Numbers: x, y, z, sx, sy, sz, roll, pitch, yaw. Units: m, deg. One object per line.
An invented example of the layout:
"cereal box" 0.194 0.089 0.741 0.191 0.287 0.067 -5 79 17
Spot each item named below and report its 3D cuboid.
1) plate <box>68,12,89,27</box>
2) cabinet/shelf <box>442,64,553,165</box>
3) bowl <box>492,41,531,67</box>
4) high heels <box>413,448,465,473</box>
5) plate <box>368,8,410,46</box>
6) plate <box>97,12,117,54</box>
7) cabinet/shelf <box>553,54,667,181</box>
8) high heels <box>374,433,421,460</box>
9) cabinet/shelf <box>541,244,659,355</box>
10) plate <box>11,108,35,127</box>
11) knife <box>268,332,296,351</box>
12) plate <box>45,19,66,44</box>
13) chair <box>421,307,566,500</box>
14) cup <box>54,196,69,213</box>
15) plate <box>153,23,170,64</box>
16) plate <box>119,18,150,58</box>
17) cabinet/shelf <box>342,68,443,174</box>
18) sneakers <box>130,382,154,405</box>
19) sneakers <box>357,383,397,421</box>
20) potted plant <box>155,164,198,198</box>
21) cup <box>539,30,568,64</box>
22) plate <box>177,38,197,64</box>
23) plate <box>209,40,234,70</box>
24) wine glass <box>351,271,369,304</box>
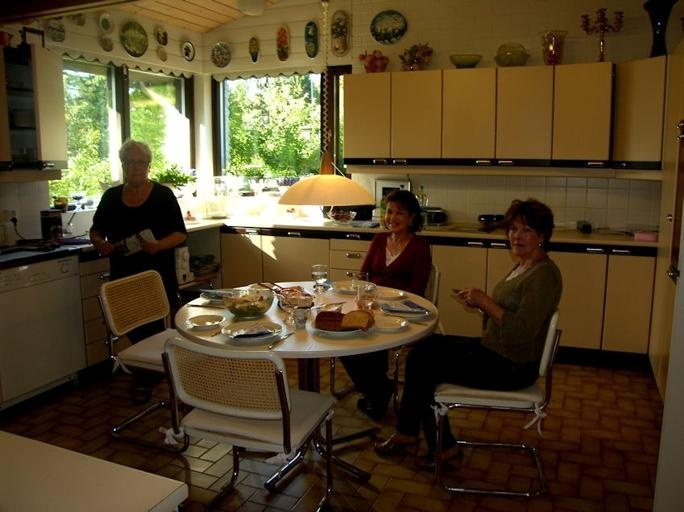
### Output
"plate" -2.334 -2.093 4.634 0.111 0.111 0.202 3 13 13
"cabinet/shelf" 1.405 -1.252 4.594 0.906 0.761 0.287 3 9 20
"bowl" 1.513 -1.758 4.674 0.260 0.166 0.261 -9 22 4
"high heels" 0.564 1.152 2.990 0.338 0.130 0.154 1 1 5
"plate" 0.484 -2.291 5.216 0.409 0.384 0.055 3 14 26
"plate" -2.219 -2.098 4.907 0.073 0.355 0.171 4 14 16
"cabinet/shelf" 2.215 -1.132 4.287 1.119 1.047 0.564 2 5 20
"high heels" 0.328 1.139 3.158 0.323 0.122 0.126 0 4 -12
"cabinet/shelf" 2.035 0.298 4.033 0.895 0.832 0.289 2 8 17
"plate" -2.305 -0.994 3.756 0.120 0.089 0.122 7 12 31
"knife" -0.312 0.422 2.585 0.036 0.011 0.212 5 9 12
"plate" -2.463 -1.921 4.462 0.184 0.183 0.136 -2 15 -9
"chair" 0.826 0.805 3.381 1.011 1.368 0.924 1 2 12
"cup" -2.425 -0.439 4.495 0.140 0.106 0.144 2 6 0
"plate" -1.895 -2.227 5.489 0.060 0.361 0.182 5 14 21
"plate" -2.078 -2.157 5.158 0.017 0.431 0.441 0 9 23
"cabinet/shelf" 0.503 -1.282 4.939 1.037 0.833 0.360 2 9 16
"sneakers" -1.507 1.041 3.893 0.116 0.120 0.141 3 -8 -12
"sneakers" 0.232 1.009 3.607 0.168 0.323 0.127 33 -13 16
"potted plant" -1.711 -0.791 5.403 0.386 0.272 0.427 3 22 8
"cup" 1.810 -1.787 4.484 0.281 0.295 0.300 1 10 0
"plate" -1.718 -2.283 5.812 0.047 0.239 0.242 5 14 20
"plate" -1.385 -2.271 5.916 0.267 0.263 0.064 33 24 18
"wine glass" 0.103 0.192 3.084 0.116 0.184 0.119 -13 24 -30
